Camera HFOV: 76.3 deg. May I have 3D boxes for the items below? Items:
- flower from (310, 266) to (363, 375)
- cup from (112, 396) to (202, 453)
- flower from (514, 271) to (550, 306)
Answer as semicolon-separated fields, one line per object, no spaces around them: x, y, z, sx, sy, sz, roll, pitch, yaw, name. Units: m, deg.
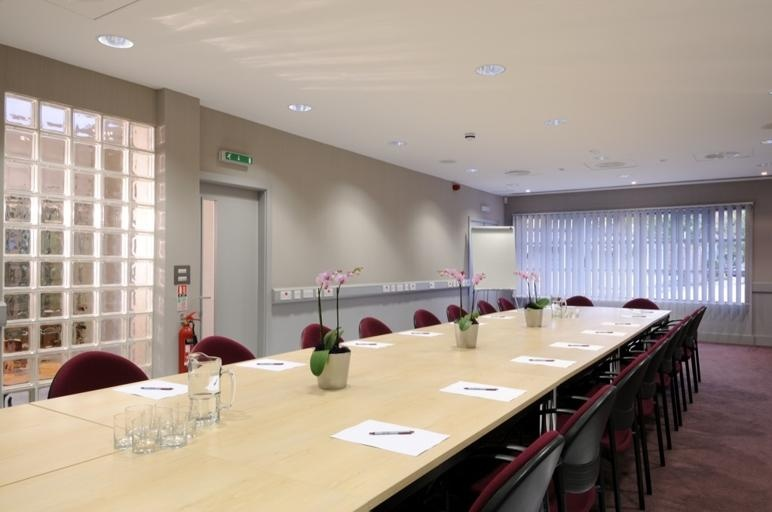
-0.340;0.402;2.958;0.421;0.678;0.290;-6;12;-25;flower
-1.064;0.735;2.344;0.270;0.158;0.269;0;0;0;cup
1.729;0.399;5.675;0.389;0.483;0.351;4;0;-9;flower
